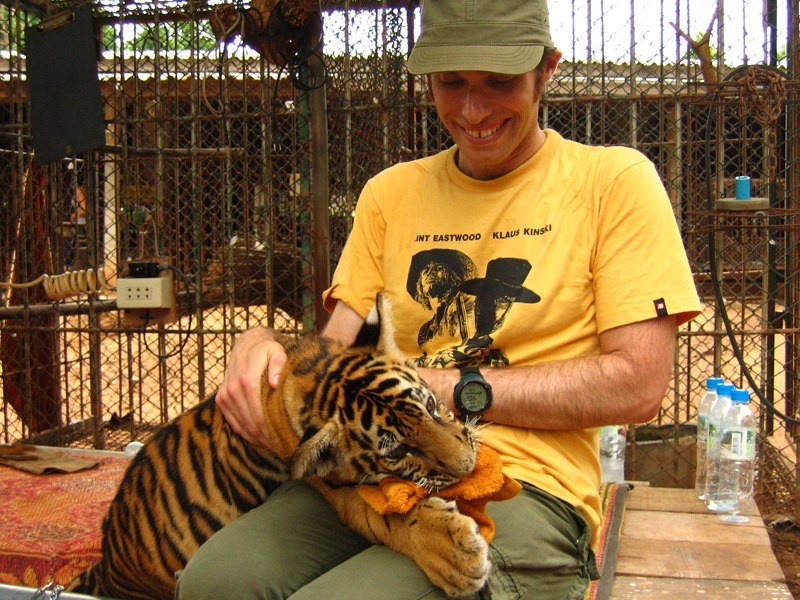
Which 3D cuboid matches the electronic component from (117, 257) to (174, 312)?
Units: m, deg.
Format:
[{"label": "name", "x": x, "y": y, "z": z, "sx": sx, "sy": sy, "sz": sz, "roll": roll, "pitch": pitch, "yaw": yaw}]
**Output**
[{"label": "electronic component", "x": -1.987, "y": -0.112, "z": 5.919, "sx": 0.367, "sy": 0.426, "sz": 0.190, "roll": 0, "pitch": -2, "yaw": 5}]
